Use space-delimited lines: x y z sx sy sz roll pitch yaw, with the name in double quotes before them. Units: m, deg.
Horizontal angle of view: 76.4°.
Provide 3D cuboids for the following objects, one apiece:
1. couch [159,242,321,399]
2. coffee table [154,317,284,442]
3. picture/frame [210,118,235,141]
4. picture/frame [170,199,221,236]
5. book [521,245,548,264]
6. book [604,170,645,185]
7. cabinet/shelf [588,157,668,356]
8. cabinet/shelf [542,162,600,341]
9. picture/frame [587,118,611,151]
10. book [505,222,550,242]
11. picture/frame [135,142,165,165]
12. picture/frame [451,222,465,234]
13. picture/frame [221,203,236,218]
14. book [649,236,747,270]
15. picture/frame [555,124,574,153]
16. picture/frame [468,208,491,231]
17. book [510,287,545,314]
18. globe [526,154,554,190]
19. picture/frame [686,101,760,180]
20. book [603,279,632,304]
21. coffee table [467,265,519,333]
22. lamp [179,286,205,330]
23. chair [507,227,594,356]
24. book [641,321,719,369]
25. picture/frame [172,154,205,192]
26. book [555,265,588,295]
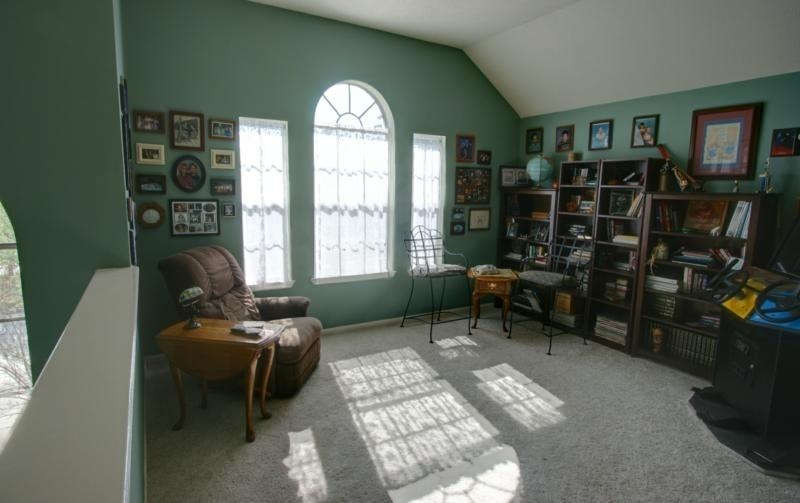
"couch" -1.504 0.678 5.021 1.371 1.321 1.120 3 13 3
"coffee table" -1.569 1.123 4.523 0.999 0.887 0.620 4 9 12
"picture/frame" -1.884 -1.293 5.360 0.246 0.210 0.021 -2 5 -26
"picture/frame" -2.170 -0.359 5.325 0.383 0.334 0.027 -2 4 -26
"book" 1.800 0.045 6.731 0.086 0.240 0.241 15 -10 -39
"book" 2.583 -0.830 5.751 0.440 0.142 0.341 8 14 40
"cabinet/shelf" 2.528 0.284 5.906 0.308 1.988 0.566 -20 24 -32
"cabinet/shelf" 2.189 -0.156 6.271 0.720 2.761 0.372 13 38 38
"picture/frame" 2.445 -1.432 6.193 0.034 0.442 0.381 -3 9 -33
"book" 1.825 -0.283 6.914 0.311 0.224 0.832 -11 9 -40
"picture/frame" -2.532 -0.989 5.118 0.232 0.210 0.016 -2 5 -31
"picture/frame" 0.766 -0.310 6.789 0.173 0.162 0.039 -5 6 -21
"picture/frame" -1.845 -0.438 5.451 0.155 0.158 0.020 -1 4 -29
"book" 3.085 0.063 5.232 0.450 0.296 0.882 -9 13 -34
"picture/frame" 2.141 -1.471 6.574 0.032 0.467 0.399 0 4 -29
"picture/frame" 1.072 -0.440 6.937 0.293 0.251 0.025 -7 13 -31
"book" 1.658 0.654 6.621 0.344 0.337 0.139 19 9 31
"globe" 1.846 -1.077 6.792 0.408 0.493 0.400 -11 18 -27
"picture/frame" 3.333 -1.134 5.188 0.065 0.969 0.765 -5 10 -41
"book" 2.537 0.468 5.926 0.242 0.098 0.255 -2 9 0
"coffee table" 1.141 0.593 6.347 0.605 0.700 0.520 3 10 7
"lamp" -1.802 0.493 4.403 0.226 0.379 0.259 6 11 -5
"chair" 1.846 0.470 6.308 0.945 1.373 0.879 2 3 -10
"book" 3.038 0.901 5.407 0.395 0.479 0.668 -7 10 -39
"picture/frame" -2.212 -0.821 5.273 0.316 0.387 0.041 15 -1 -32
"book" 2.118 0.346 6.144 0.331 0.344 0.649 2 12 18
